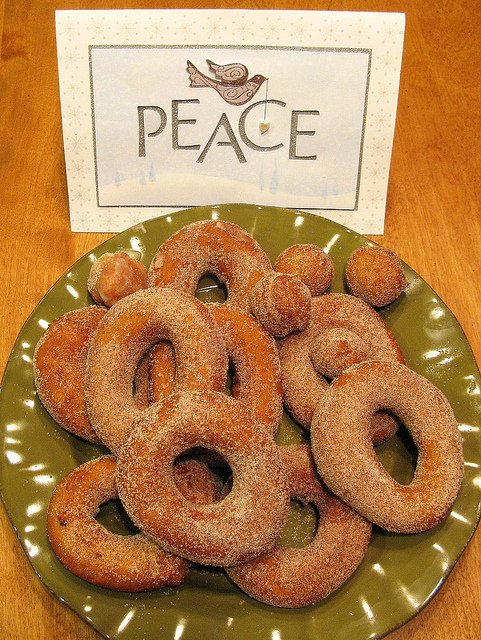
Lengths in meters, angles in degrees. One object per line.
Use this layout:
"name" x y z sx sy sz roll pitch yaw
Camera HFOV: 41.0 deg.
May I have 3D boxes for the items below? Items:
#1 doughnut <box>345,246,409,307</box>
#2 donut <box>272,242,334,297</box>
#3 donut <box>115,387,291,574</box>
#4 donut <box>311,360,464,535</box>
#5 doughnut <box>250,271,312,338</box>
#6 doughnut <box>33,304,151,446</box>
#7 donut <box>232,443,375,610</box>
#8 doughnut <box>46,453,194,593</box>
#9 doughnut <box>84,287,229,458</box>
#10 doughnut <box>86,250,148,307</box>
"doughnut" 0.200 -0.064 0.970 0.086 0.049 0.090 -23 79 -10
"donut" 0.108 -0.069 0.939 0.081 0.027 0.081 6 67 -14
"donut" -0.050 0.211 0.861 0.242 0.093 0.253 -11 50 -24
"donut" 0.256 0.161 0.978 0.288 0.272 0.105 4 101 -37
"doughnut" 0.053 -0.026 0.923 0.095 0.076 0.068 26 55 16
"doughnut" -0.221 0.100 0.919 0.193 0.063 0.188 -19 82 -26
"donut" 0.084 0.293 0.871 0.223 0.075 0.223 -10 71 -8
"doughnut" -0.175 0.286 0.848 0.186 0.059 0.185 45 45 12
"doughnut" -0.117 0.071 0.874 0.210 0.074 0.222 -28 88 -10
"doughnut" -0.184 -0.063 0.946 0.084 0.029 0.083 -2 65 -9
